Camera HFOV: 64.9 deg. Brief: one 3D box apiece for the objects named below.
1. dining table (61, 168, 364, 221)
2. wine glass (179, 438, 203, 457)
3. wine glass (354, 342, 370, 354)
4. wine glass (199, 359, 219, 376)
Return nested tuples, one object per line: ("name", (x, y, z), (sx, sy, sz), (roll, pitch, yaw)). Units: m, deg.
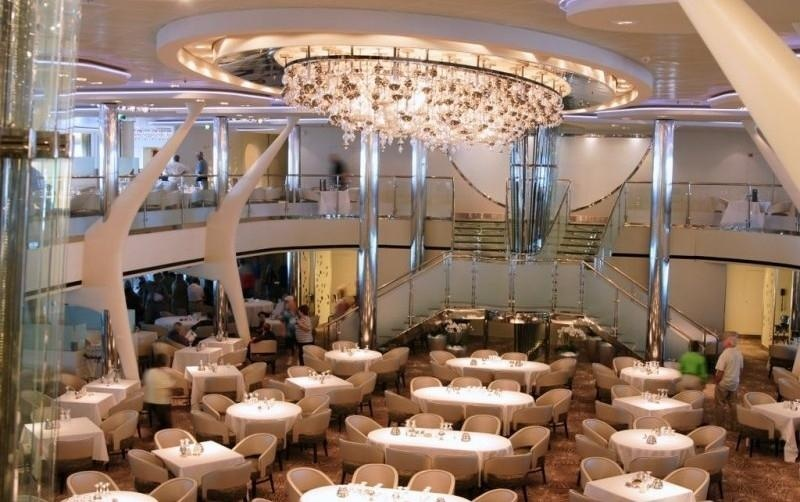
("dining table", (-4.434, -1.471, 16.600), (1.632, 1.261, 8.491), (3, 6, 27))
("wine glass", (-3.069, 2.855, 9.299), (0.339, 0.212, 0.434), (-1, 5, -14))
("wine glass", (-0.988, 2.530, 16.340), (0.316, 0.110, 0.315), (3, -3, -32))
("wine glass", (-4.125, 2.566, 13.657), (0.282, 0.151, 0.404), (2, 10, -9))
